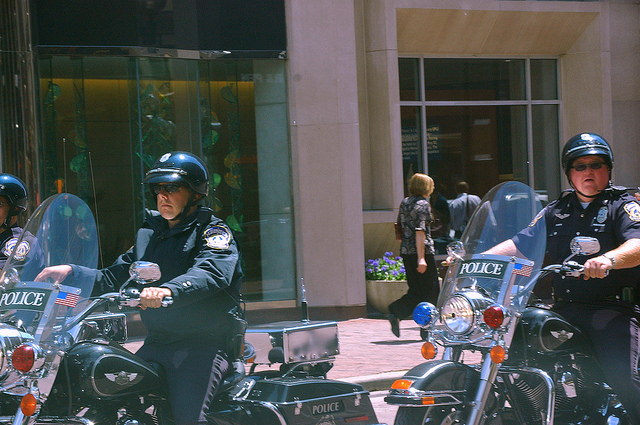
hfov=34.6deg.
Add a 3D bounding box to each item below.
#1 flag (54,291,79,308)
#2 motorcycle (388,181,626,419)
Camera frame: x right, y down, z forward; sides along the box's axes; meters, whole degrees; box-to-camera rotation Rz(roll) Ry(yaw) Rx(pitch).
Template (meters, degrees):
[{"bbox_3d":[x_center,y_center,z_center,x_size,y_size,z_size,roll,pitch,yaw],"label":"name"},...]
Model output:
[{"bbox_3d":[-2.226,0.765,9.010,0.146,0.092,0.010,16,-21,-15],"label":"flag"},{"bbox_3d":[1.643,0.830,9.687,1.960,2.190,1.202,-1,4,3],"label":"motorcycle"}]
